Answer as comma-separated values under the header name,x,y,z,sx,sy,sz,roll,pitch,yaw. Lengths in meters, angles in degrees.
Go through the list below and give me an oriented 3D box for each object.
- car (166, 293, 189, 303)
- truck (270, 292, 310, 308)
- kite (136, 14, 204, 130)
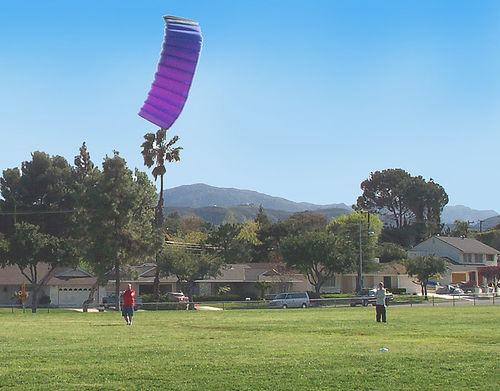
name,x,y,z,sx,sy,sz,roll,pitch,yaw
car,-7.673,10.689,103.600,0.874,0.725,1.953,-1,7,-37
truck,3.831,10.090,95.327,3.206,1.400,1.665,5,-11,-34
kite,-4.500,-7.110,56.983,3.238,6.143,1.721,-9,-15,42
